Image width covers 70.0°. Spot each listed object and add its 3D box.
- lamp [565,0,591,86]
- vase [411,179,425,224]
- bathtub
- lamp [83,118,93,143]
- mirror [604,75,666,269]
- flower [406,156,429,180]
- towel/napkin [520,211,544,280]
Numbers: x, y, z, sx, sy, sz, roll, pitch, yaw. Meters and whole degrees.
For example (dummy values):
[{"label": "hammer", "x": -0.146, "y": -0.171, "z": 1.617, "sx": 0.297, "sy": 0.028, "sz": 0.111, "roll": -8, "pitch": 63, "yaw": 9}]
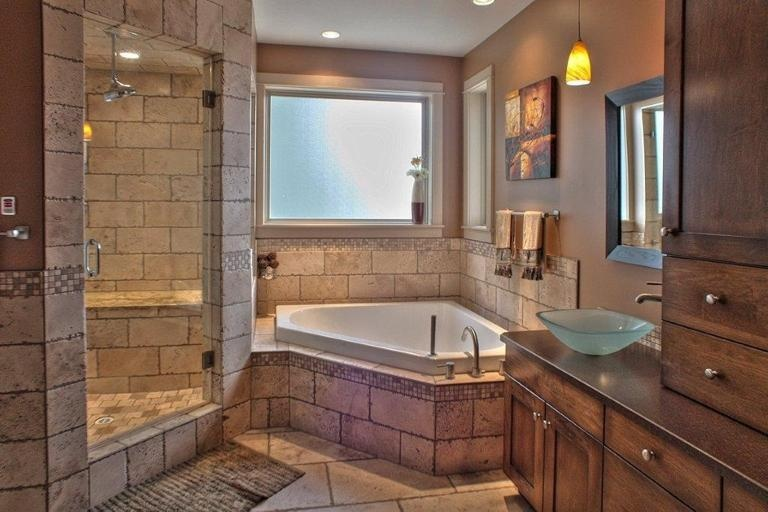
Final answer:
[{"label": "lamp", "x": 1.256, "y": -1.368, "z": 3.507, "sx": 0.142, "sy": 0.560, "sz": 0.474, "roll": 1, "pitch": 7, "yaw": 20}, {"label": "vase", "x": 0.332, "y": -0.550, "z": 5.443, "sx": 0.142, "sy": 0.461, "sz": 0.185, "roll": -1, "pitch": 6, "yaw": 5}, {"label": "bathtub", "x": 0.019, "y": 0.656, "z": 4.462, "sx": 1.737, "sy": 0.496, "sz": 1.711, "roll": -3, "pitch": 7, "yaw": -11}, {"label": "lamp", "x": -2.686, "y": -1.126, "z": 4.945, "sx": 0.061, "sy": 0.188, "sz": 0.134, "roll": -3, "pitch": 7, "yaw": -11}, {"label": "mirror", "x": 1.492, "y": -0.522, "z": 3.352, "sx": 0.131, "sy": 1.041, "sz": 0.417, "roll": -3, "pitch": 7, "yaw": -11}, {"label": "flower", "x": 0.325, "y": -0.875, "z": 5.439, "sx": 0.249, "sy": 0.250, "sz": 0.240, "roll": -2, "pitch": 8, "yaw": -4}, {"label": "towel/napkin", "x": 1.089, "y": -0.085, "z": 4.044, "sx": 0.141, "sy": 0.479, "sz": 0.243, "roll": -2, "pitch": 5, "yaw": -37}]
